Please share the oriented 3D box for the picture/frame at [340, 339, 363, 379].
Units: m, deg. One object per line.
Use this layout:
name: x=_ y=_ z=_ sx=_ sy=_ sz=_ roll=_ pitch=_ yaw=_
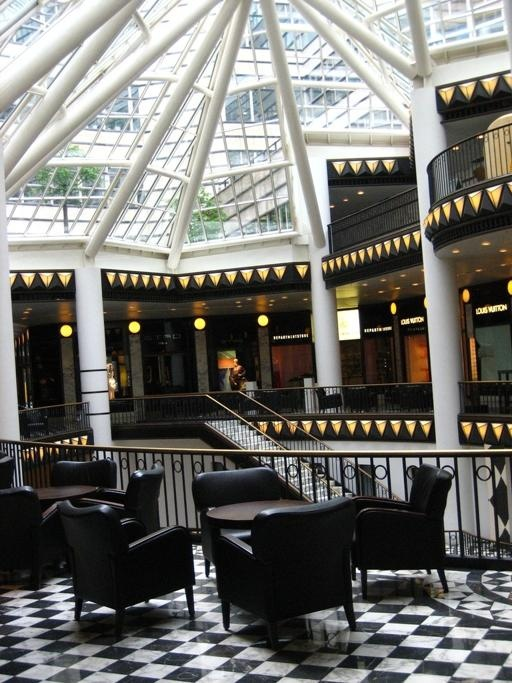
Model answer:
picture/frame: x=4.189 y=0.873 z=28.871 sx=1.247 sy=1.793 sz=0.358 roll=-3 pitch=1 yaw=43
